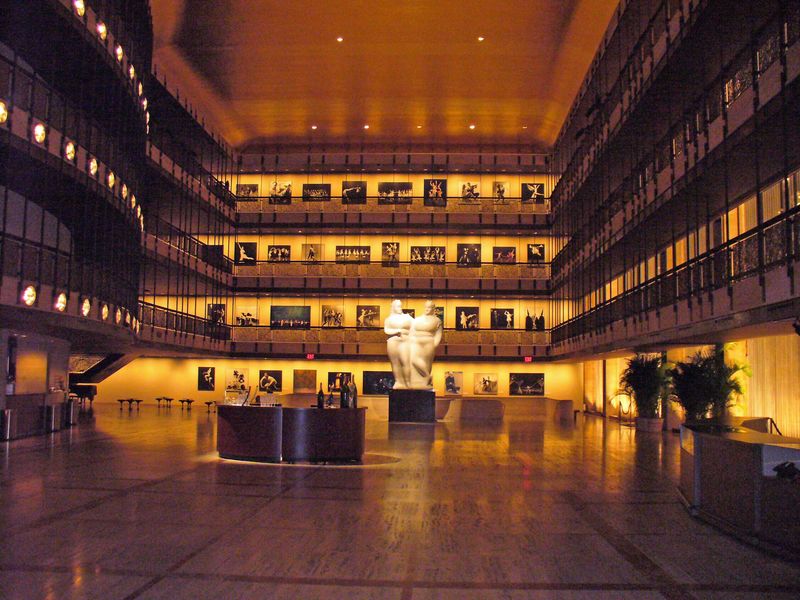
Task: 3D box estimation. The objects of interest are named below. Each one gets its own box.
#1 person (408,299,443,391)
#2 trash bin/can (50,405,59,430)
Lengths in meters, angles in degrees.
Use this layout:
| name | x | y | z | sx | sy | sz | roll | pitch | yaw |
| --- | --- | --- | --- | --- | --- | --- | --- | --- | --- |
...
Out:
| name | x | y | z | sx | sy | sz | roll | pitch | yaw |
| --- | --- | --- | --- | --- | --- | --- | --- | --- | --- |
| person | 1.127 | 2.093 | 31.568 | 1.372 | 4.118 | 1.142 | 1 | -6 | -1 |
| trash bin/can | -12.469 | 4.237 | 24.257 | 0.194 | 0.859 | 0.445 | -1 | -6 | 12 |
